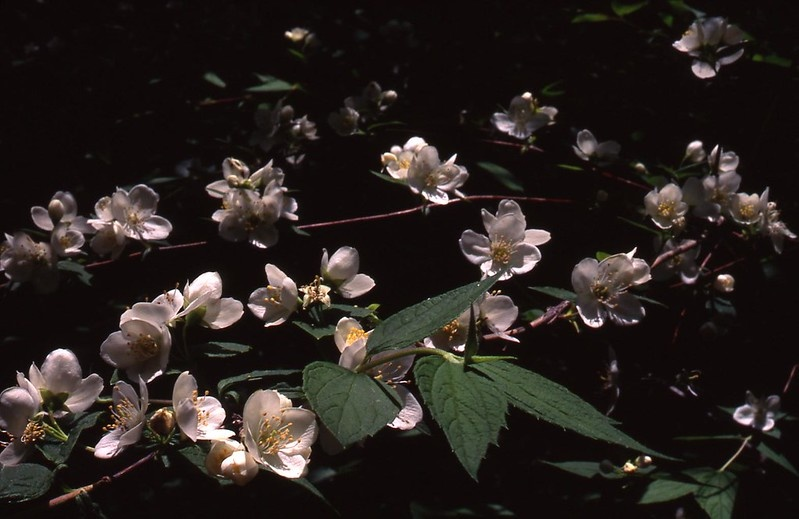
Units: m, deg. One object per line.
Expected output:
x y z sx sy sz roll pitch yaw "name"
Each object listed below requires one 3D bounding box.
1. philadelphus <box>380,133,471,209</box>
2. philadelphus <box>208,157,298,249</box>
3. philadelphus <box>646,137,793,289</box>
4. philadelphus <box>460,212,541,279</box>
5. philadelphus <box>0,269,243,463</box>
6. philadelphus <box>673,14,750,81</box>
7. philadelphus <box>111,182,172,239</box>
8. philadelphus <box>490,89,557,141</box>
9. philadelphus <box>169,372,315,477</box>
0.091 -0.341 2.780 0.341 0.258 0.272 -5 47 8 "philadelphus"
-0.570 -0.203 2.747 0.312 0.341 0.274 -23 47 -9 "philadelphus"
1.188 -0.197 2.912 0.563 0.617 0.289 -19 7 -12 "philadelphus"
0.364 -0.026 2.557 0.328 0.145 0.384 1 22 20 "philadelphus"
-0.974 0.381 2.319 0.699 0.281 0.628 -13 77 -11 "philadelphus"
1.296 -0.916 2.918 0.265 0.188 0.250 -13 12 -12 "philadelphus"
-1.011 -0.178 2.739 0.203 0.223 0.104 -18 15 -41 "philadelphus"
0.529 -0.615 2.957 0.249 0.184 0.293 14 52 24 "philadelphus"
-0.517 0.526 2.267 0.418 0.216 0.310 28 16 -15 "philadelphus"
